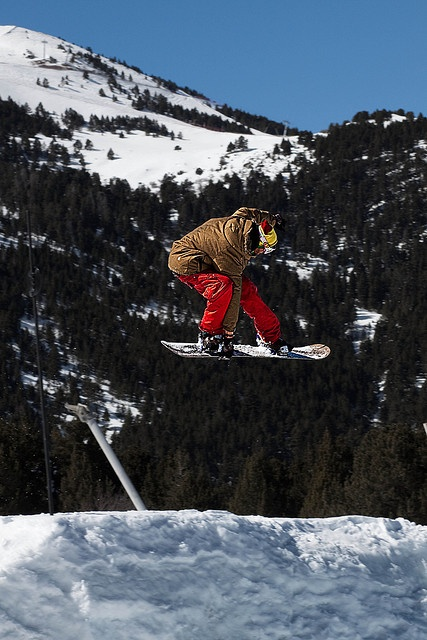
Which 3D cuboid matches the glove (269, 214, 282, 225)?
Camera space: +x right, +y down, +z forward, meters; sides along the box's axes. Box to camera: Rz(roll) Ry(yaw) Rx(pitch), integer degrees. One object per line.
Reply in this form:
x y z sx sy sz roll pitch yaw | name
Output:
0.819 -1.330 13.346 0.056 0.134 0.150 -2 43 -10 | glove
